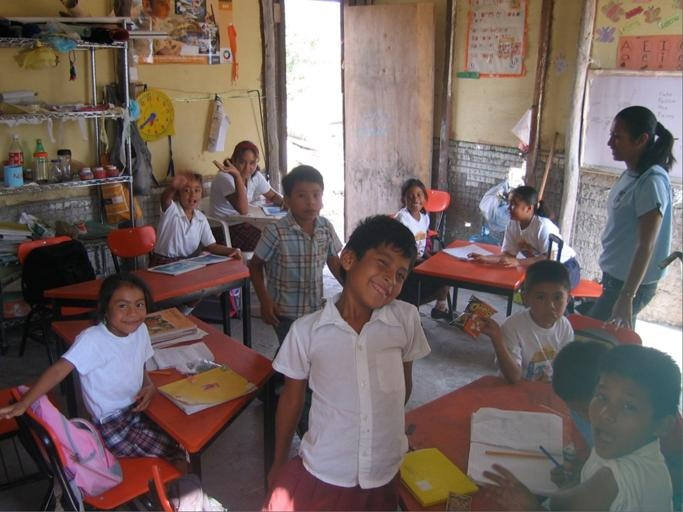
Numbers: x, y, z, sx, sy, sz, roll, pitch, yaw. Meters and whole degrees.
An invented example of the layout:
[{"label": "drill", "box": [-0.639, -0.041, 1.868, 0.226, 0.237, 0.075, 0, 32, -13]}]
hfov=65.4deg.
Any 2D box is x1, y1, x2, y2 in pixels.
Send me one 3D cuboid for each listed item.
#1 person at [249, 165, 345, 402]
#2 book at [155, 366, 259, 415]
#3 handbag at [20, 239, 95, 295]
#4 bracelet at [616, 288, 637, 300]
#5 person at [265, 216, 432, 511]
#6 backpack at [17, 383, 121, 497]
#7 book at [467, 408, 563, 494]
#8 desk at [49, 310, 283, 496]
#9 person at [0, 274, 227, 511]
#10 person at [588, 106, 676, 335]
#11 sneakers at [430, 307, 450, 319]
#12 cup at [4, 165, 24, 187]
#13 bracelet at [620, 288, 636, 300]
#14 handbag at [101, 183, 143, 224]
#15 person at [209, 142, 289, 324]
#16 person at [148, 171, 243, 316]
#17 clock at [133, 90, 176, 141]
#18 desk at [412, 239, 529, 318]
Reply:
[{"label": "person", "box": [-0.227, 0.181, 3.140, 0.573, 1.370, 0.419, -7, 18, -26]}, {"label": "book", "box": [-0.593, 0.585, 2.376, 0.215, 0.033, 0.201, -13, 26, -39]}, {"label": "handbag", "box": [-2.001, 0.077, 3.717, 0.163, 0.427, 0.419, 2, 10, 44]}, {"label": "bracelet", "box": [1.500, 0.201, 2.806, 0.067, 0.020, 0.066, 2, 9, 12]}, {"label": "person", "box": [0.029, 0.372, 1.864, 0.562, 0.973, 0.406, 3, 14, 4]}, {"label": "backpack", "box": [-1.028, 0.728, 2.072, 0.209, 0.413, 0.273, 11, 17, 33]}, {"label": "book", "box": [0.644, 0.732, 2.032, 0.230, 0.052, 0.286, 2, 22, 18]}, {"label": "desk", "box": [-1.205, 0.572, 3.652, 0.662, 0.906, 1.281, 5, 10, 21]}, {"label": "person", "box": [-0.857, 0.508, 2.657, 1.007, 1.036, 0.772, 7, 2, 9]}, {"label": "person", "box": [1.539, -0.163, 2.785, 0.378, 1.182, 0.602, 9, 16, 26]}, {"label": "sneakers", "box": [0.896, 0.531, 4.846, 0.200, 0.080, 0.068, 1, -4, 18]}, {"label": "cup", "box": [-2.578, -0.628, 4.182, 0.128, 0.165, 0.181, -8, 17, -34]}, {"label": "bracelet", "box": [1.490, 0.196, 2.780, 0.068, 0.046, 0.032, 5, 15, 11]}, {"label": "handbag", "box": [-2.039, -0.485, 4.897, 0.297, 0.399, 0.211, -4, 33, 2]}, {"label": "person", "box": [-0.964, -0.440, 5.354, 0.735, 1.323, 0.654, 19, 24, 31]}, {"label": "person", "box": [-1.222, -0.120, 4.180, 0.662, 1.043, 0.645, 11, 3, 39]}, {"label": "clock", "box": [-1.840, -1.366, 5.177, 0.085, 0.496, 0.437, 15, 31, 31]}, {"label": "desk", "box": [0.948, 0.143, 3.870, 0.563, 0.467, 0.620, 13, 24, 29]}]
